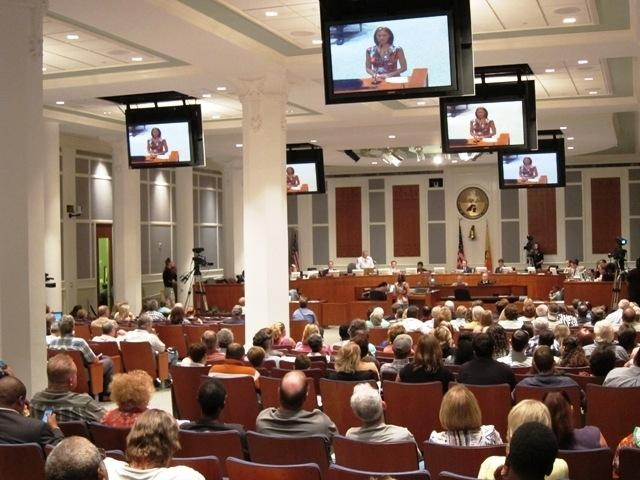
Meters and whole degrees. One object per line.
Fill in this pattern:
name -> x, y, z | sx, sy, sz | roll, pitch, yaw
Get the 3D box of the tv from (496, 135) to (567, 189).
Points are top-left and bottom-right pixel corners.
tv -> 5.063, -1.840, 13.592 | 1.335, 1.274, 0.503 | 0, -5, 8

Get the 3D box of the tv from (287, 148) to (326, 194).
tv -> -0.429, -2.090, 17.183 | 1.153, 1.449, 0.625 | -3, -2, 8

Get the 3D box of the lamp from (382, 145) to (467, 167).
lamp -> 3.783, -3.077, 20.713 | 1.815, 0.536, 1.889 | -1, -6, 24

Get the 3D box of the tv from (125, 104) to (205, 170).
tv -> -3.260, -2.043, 11.881 | 1.559, 1.296, 0.142 | -7, -19, -2

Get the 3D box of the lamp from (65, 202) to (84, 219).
lamp -> -7.032, -0.818, 16.490 | 0.290, 0.420, 0.680 | -3, -3, 8

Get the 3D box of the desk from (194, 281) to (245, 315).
desk -> -3.314, 1.840, 18.338 | 1.569, 1.619, 0.935 | 1, 1, 13
